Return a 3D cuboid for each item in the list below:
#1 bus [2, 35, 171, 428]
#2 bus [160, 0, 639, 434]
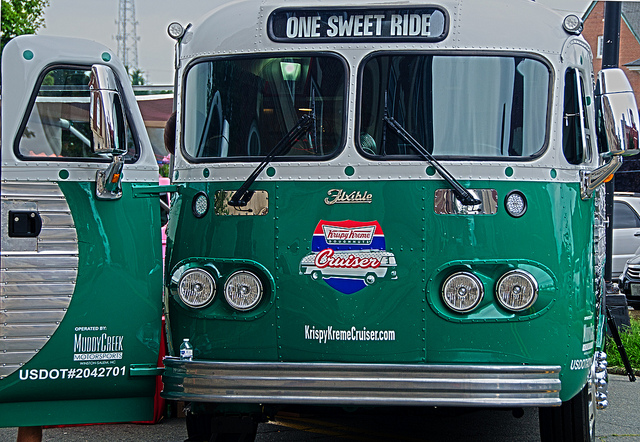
[{"bbox_3d":[-1.929,0.086,6.233,1.318,2.931,0.615,-2,1,-14],"label":"bus"},{"bbox_3d":[1.009,0.039,8.057,2.435,2.539,4.440,-1,-4,13],"label":"bus"}]
